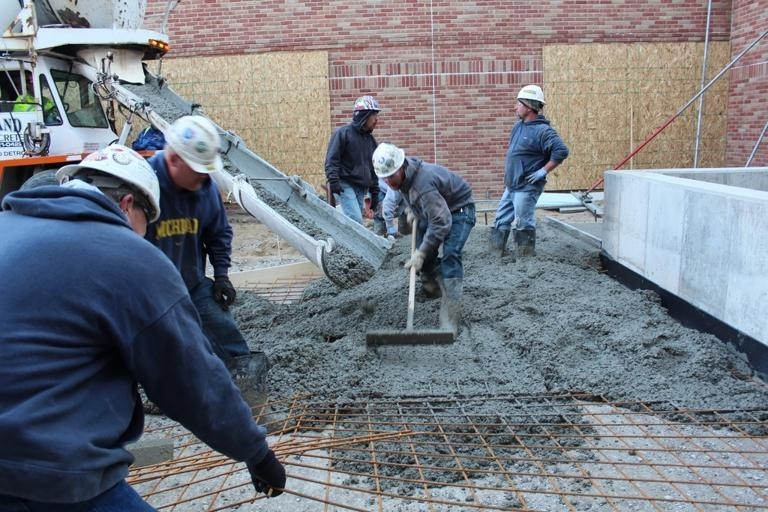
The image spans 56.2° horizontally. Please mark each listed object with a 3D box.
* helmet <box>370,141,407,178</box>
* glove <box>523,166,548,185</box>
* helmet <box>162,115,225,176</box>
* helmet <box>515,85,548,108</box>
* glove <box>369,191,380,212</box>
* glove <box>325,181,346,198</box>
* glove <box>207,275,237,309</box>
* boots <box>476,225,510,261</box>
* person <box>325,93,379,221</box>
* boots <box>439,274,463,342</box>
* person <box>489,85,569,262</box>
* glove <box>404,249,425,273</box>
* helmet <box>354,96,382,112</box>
[{"bbox_3d":[0.043,-0.851,6.470,0.285,0.336,0.254,-1,19,0],"label":"helmet"},{"bbox_3d":[1.682,-0.881,7.901,0.060,0.134,0.230,28,-9,-13],"label":"glove"},{"bbox_3d":[-1.329,-0.829,5.018,0.502,0.288,0.396,37,26,28],"label":"helmet"},{"bbox_3d":[1.624,-1.776,7.981,0.270,0.223,0.210,1,19,5],"label":"helmet"},{"bbox_3d":[-0.134,-0.715,9.376,0.072,0.225,0.151,1,-2,-33],"label":"glove"},{"bbox_3d":[-0.606,-0.836,8.774,0.228,0.352,0.118,2,6,2],"label":"glove"},{"bbox_3d":[-1.289,0.261,5.743,0.286,0.087,0.205,42,-20,-29],"label":"glove"},{"bbox_3d":[1.254,-0.152,8.309,0.322,0.417,0.297,2,-3,0],"label":"boots"},{"bbox_3d":[-0.393,-0.899,8.832,0.624,2.157,0.597,0,4,-27],"label":"person"},{"bbox_3d":[0.611,0.450,6.663,0.209,0.474,0.419,1,19,5],"label":"boots"},{"bbox_3d":[1.631,-0.940,8.104,0.806,1.876,0.641,9,21,25],"label":"person"},{"bbox_3d":[0.281,0.042,6.622,0.120,0.094,0.218,10,-23,-20],"label":"glove"},{"bbox_3d":[-0.230,-1.812,8.529,0.265,0.162,0.241,-4,20,-8],"label":"helmet"}]
